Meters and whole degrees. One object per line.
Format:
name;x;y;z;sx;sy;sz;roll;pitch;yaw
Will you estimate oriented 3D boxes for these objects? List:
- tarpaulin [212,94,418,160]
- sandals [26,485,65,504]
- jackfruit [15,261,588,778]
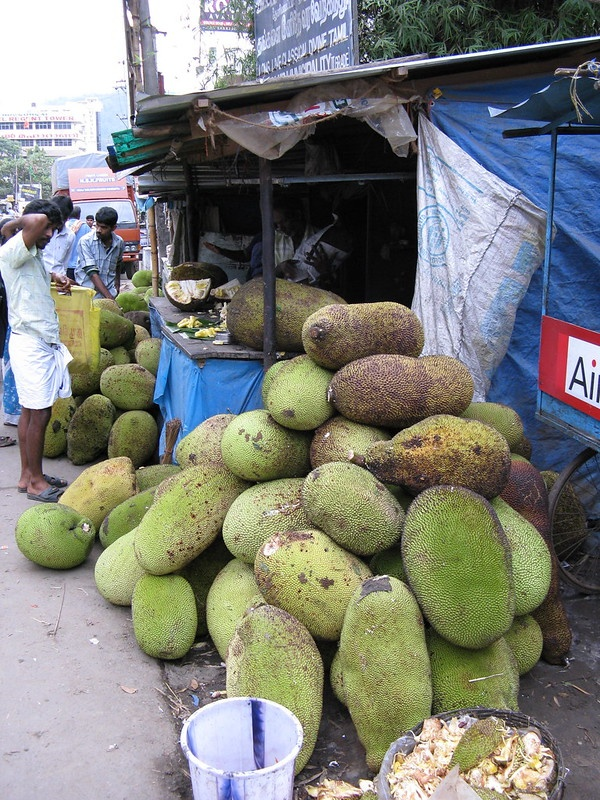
tarpaulin;0.184;-1.529;3.719;0.959;0.347;1.021;-6;17;-10
sandals;-1.672;0.632;4.338;0.287;0.088;0.147;2;8;11
jackfruit;-0.024;0.336;2.614;1.414;0.851;1.929;-15;31;-39
